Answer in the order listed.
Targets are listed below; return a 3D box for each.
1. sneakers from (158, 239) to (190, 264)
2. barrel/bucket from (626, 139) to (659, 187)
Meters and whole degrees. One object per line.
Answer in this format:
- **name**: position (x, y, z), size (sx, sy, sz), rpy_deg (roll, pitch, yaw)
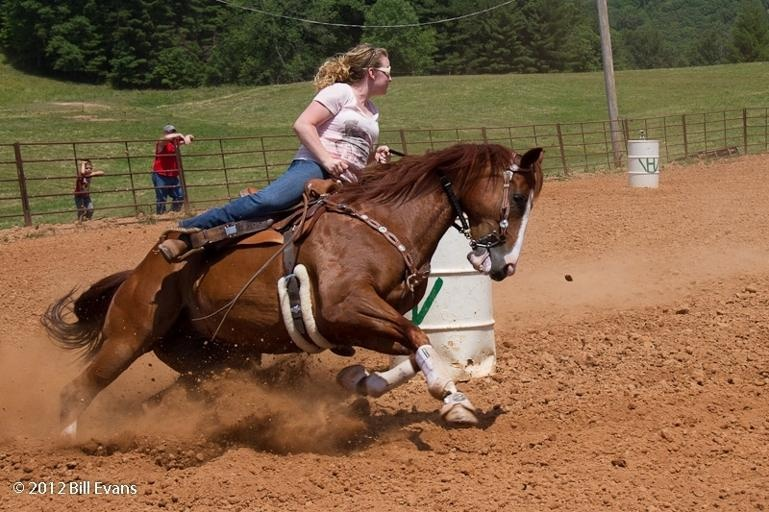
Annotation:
- **sneakers**: position (-2.251, -0.060, 8.903), size (0.288, 0.210, 0.288), rpy_deg (0, 30, -21)
- **barrel/bucket**: position (6.319, -2.256, 20.487), size (0.771, 1.175, 0.645), rpy_deg (1, 10, 29)
